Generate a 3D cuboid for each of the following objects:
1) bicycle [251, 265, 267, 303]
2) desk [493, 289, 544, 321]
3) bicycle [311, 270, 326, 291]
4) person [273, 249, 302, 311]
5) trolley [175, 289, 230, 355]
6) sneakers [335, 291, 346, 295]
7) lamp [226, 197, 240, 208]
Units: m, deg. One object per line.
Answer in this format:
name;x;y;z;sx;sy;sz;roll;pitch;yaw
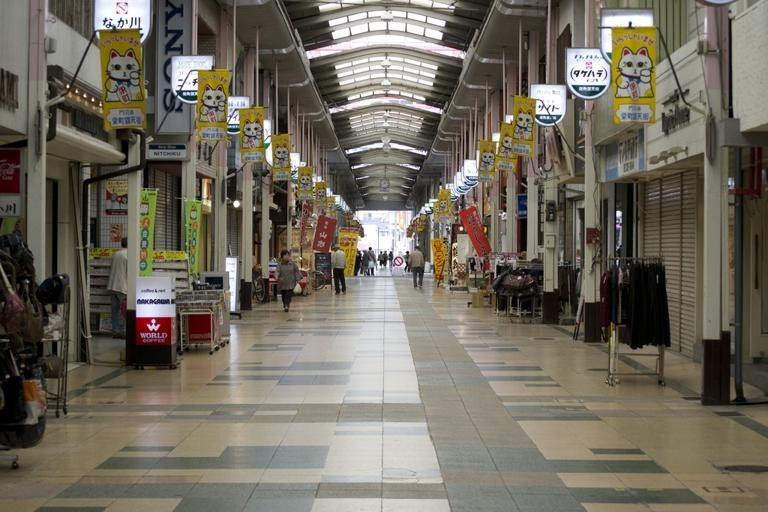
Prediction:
bicycle;-4.405;0.964;24.553;0.452;1.205;1.522;-2;0;-6
desk;3.872;1.426;20.070;0.909;1.280;0.954;-1;-5;20
bicycle;-2.946;1.090;31.862;0.650;0.799;1.539;-2;0;-4
person;-2.988;0.748;21.410;0.647;1.666;1.423;-2;0;-9
trolley;-3.636;1.182;14.080;0.887;1.220;1.726;-1;-1;0
sneakers;-1.875;1.558;29.514;0.465;0.230;0.159;4;-2;-15
lamp;-4.738;-1.681;21.510;0.450;0.293;0.261;2;0;32
